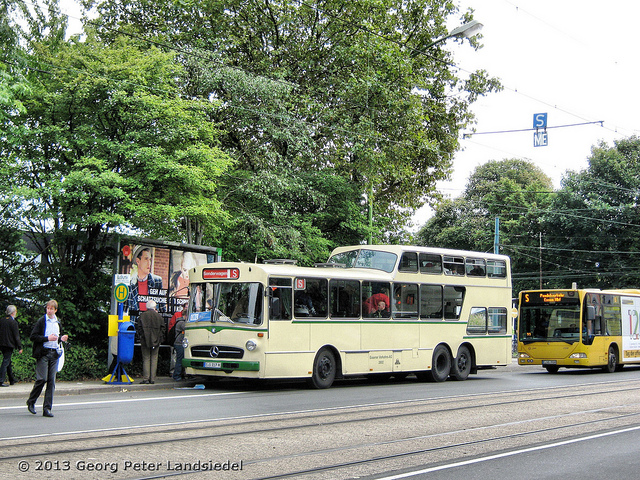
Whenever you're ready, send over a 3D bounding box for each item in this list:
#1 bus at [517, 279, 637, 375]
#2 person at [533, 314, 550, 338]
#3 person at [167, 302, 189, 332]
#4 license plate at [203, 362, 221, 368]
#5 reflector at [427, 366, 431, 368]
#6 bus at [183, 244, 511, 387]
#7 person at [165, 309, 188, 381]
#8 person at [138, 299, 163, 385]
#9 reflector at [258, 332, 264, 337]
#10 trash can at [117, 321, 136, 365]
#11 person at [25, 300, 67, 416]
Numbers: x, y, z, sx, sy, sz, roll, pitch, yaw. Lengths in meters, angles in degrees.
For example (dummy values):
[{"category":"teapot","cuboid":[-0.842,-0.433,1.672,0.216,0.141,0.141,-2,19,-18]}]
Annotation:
[{"category":"bus","cuboid":[12.741,3.998,27.426,8.149,3.780,2.759,5,-7,-27]},{"category":"person","cuboid":[9.636,3.690,26.262,0.580,0.958,0.236,8,-7,32]},{"category":"person","cuboid":[-4.410,2.323,18.676,0.691,0.555,0.912,-3,0,6]},{"category":"license plate","cuboid":[-3.001,3.476,16.943,0.565,0.163,0.027,-2,-7,26]},{"category":"reflector","cuboid":[3.603,4.191,20.107,0.077,0.046,0.075,-2,0,-28]},{"category":"bus","cuboid":[1.546,2.481,20.731,12.135,4.229,3.621,7,-9,-41]},{"category":"person","cuboid":[-4.241,3.125,18.252,0.421,2.090,0.781,6,-7,-37]},{"category":"person","cuboid":[-4.928,2.945,17.635,0.678,2.344,0.566,3,-6,-18]},{"category":"reflector","cuboid":[-1.600,2.553,16.472,0.113,0.100,0.027,4,-4,0]},{"category":"trash can","cuboid":[-5.451,2.854,17.059,0.440,1.153,0.322,4,-6,-22]},{"category":"person","cuboid":[-5.492,2.345,12.195,0.651,2.250,0.975,4,-7,-25]}]
